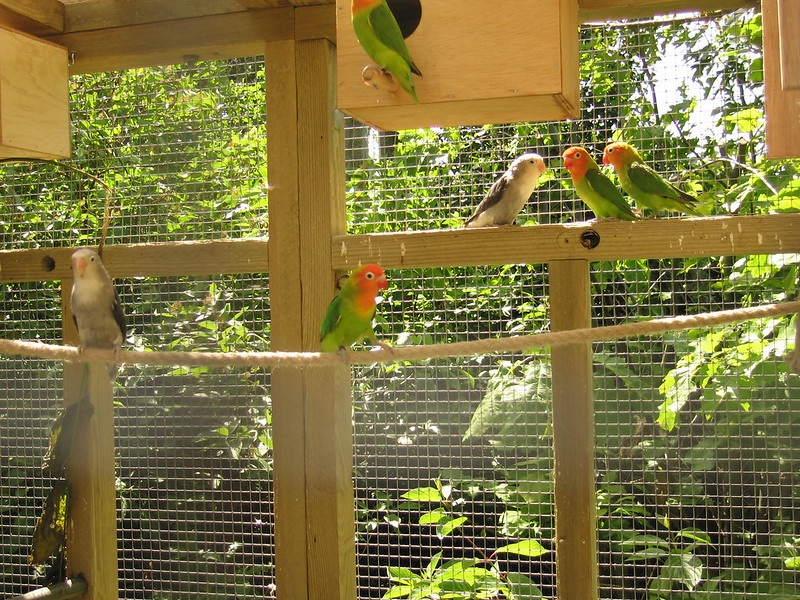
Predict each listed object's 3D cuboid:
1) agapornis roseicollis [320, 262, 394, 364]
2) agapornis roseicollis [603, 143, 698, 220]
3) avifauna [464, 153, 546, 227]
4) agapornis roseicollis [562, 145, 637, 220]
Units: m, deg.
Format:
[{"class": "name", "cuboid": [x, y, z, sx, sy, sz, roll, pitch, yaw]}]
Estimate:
[{"class": "agapornis roseicollis", "cuboid": [-0.233, 0.035, 5.285, 0.240, 0.485, 0.464, -9, 13, -38]}, {"class": "agapornis roseicollis", "cuboid": [1.165, -0.557, 5.547, 0.457, 0.348, 0.195, 0, -4, -11]}, {"class": "avifauna", "cuboid": [0.525, -0.544, 5.719, 0.187, 0.356, 0.417, -11, 16, -41]}, {"class": "agapornis roseicollis", "cuboid": [0.944, -0.538, 5.485, 0.186, 0.427, 0.467, 1, -6, -23]}]
